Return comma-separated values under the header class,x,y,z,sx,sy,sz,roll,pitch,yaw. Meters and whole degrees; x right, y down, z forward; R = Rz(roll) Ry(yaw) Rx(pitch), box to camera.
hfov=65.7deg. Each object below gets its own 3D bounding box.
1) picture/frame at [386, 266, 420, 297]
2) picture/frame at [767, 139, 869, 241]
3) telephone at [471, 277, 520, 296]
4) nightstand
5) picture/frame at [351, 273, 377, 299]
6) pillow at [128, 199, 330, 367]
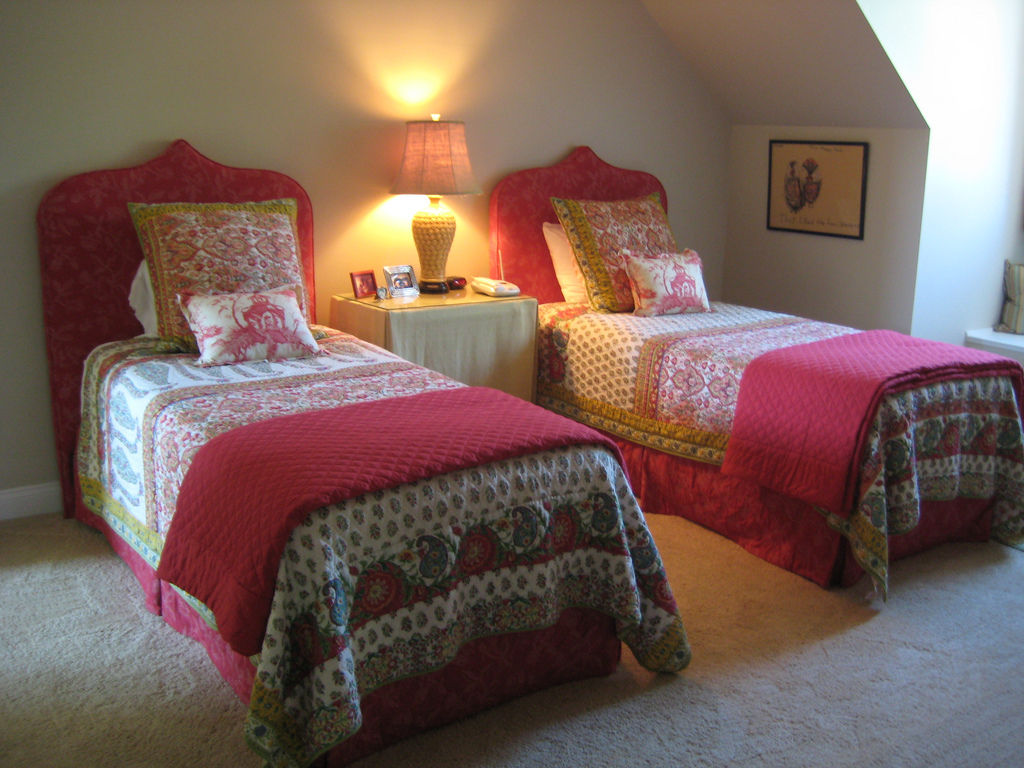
class,x,y,z,sx,sy,sz,roll,pitch,yaw
picture/frame,-0.556,-0.508,3.962,0.160,0.181,0.024,1,-21,-40
picture/frame,1.854,-1.174,4.745,0.053,0.519,0.545,-10,19,-35
telephone,-0.056,-0.498,4.129,0.166,0.062,0.131,-4,16,-28
nightstand,-0.243,-0.229,3.950,0.732,0.584,0.573,-8,17,-31
picture/frame,-0.739,-0.488,3.943,0.016,0.122,0.120,7,10,44
pillow,-1.235,-0.528,3.334,0.676,0.717,0.204,-5,-15,-30
